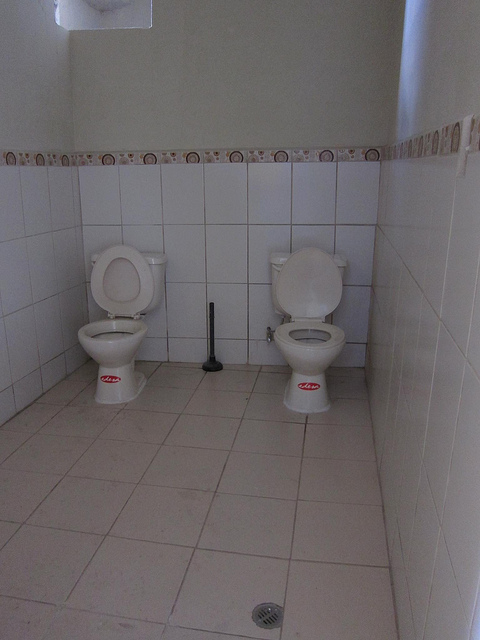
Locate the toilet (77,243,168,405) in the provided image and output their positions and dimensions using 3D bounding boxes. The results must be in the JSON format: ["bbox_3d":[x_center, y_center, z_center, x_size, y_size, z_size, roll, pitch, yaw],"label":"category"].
[{"bbox_3d":[-0.688,0.000,2.767,0.502,0.870,0.650,-2,13,-9],"label":"toilet"}]

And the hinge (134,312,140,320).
[{"bbox_3d":[-0.646,-0.024,2.899,0.027,0.046,0.042,1,0,3],"label":"hinge"}]

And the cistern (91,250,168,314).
[{"bbox_3d":[-0.678,-0.276,3.068,0.417,0.489,0.347,4,16,16],"label":"cistern"}]

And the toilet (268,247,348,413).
[{"bbox_3d":[0.389,0.032,2.657,0.448,0.861,0.696,1,13,5],"label":"toilet"}]

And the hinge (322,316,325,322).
[{"bbox_3d":[0.500,0.001,2.752,0.025,0.032,0.018,3,10,22],"label":"hinge"}]
